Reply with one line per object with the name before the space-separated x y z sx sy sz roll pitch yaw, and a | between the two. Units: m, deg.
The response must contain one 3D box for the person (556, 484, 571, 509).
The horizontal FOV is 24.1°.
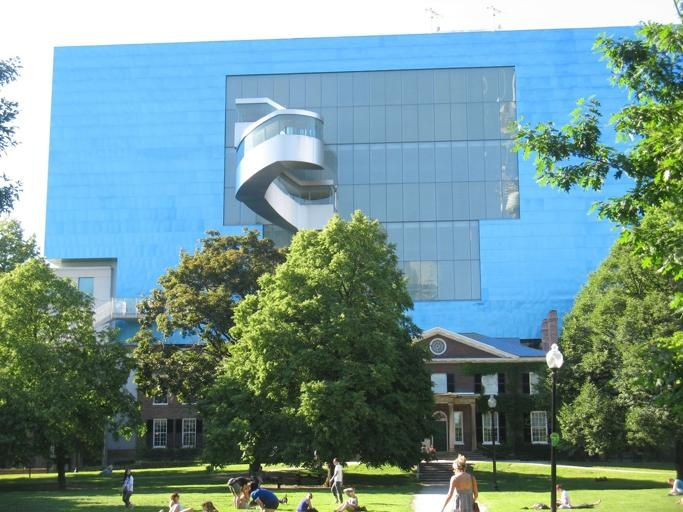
person | 14.023 15.382 101.270 0.924 1.701 1.374 -7 -9 42
